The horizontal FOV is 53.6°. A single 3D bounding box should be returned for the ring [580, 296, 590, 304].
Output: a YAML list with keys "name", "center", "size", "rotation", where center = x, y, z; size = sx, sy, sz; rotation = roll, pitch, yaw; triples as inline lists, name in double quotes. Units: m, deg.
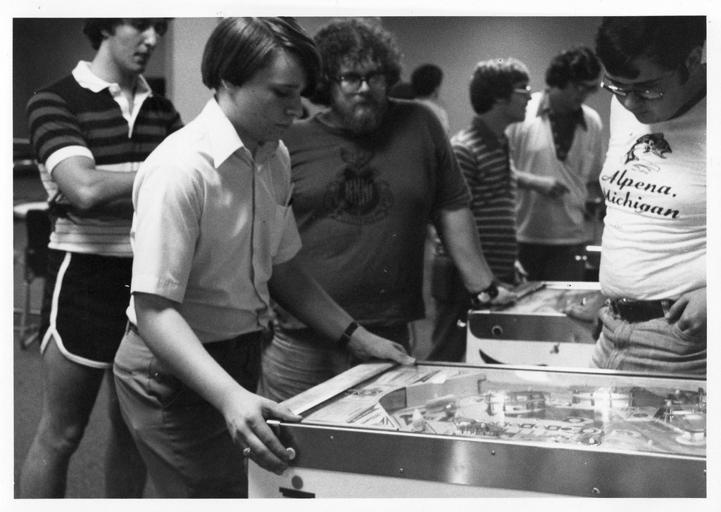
- name: "ring"
  center: [0.974, 0.190, 3.083]
  size: [0.029, 0.029, 0.009]
  rotation: [3, -4, 12]

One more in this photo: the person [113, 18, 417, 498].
- name: "person"
  center: [-0.449, 0.069, 2.335]
  size: [0.783, 1.675, 0.672]
  rotation: [3, 6, 2]

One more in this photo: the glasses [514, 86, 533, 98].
- name: "glasses"
  center: [0.689, -0.694, 3.004]
  size: [0.045, 0.033, 0.062]
  rotation: [0, 3, -30]

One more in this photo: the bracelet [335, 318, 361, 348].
- name: "bracelet"
  center: [-0.047, 0.282, 2.630]
  size: [0.035, 0.088, 0.087]
  rotation: [30, -3, -13]
